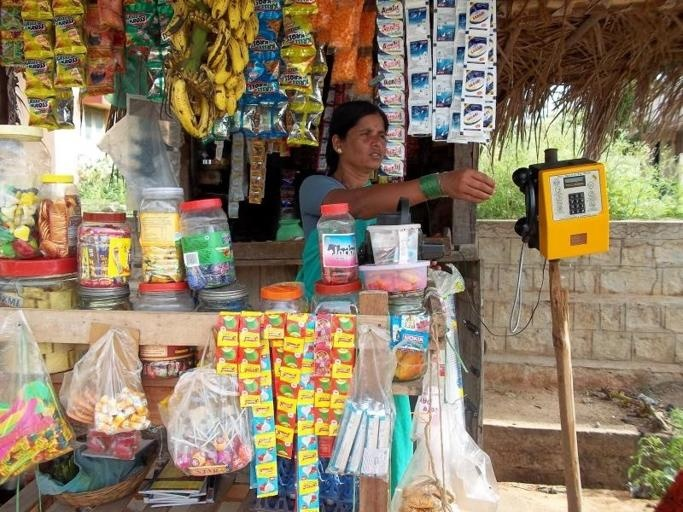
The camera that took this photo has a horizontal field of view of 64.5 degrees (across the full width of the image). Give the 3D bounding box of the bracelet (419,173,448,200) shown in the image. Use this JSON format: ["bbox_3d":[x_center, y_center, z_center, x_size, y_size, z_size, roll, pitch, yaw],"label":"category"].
[{"bbox_3d":[0.400,-0.307,2.441,0.095,0.082,0.115,-32,15,-39],"label":"bracelet"}]

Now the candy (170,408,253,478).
[{"bbox_3d":[-0.499,0.692,2.066,0.280,0.257,0.154,-5,-1,1],"label":"candy"}]

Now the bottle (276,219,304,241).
[{"bbox_3d":[-0.437,-0.226,4.647,0.190,0.181,0.192,0,6,13],"label":"bottle"}]

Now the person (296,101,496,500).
[{"bbox_3d":[0.223,0.250,2.810,0.868,2.081,0.784,-3,8,-15],"label":"person"}]
